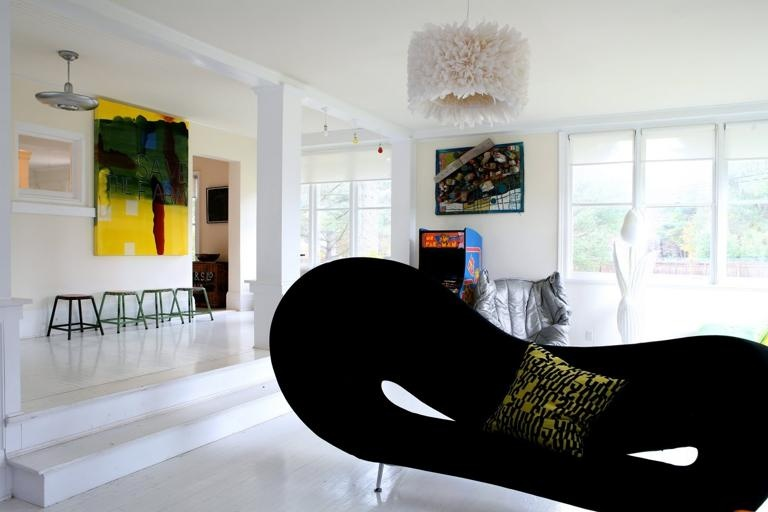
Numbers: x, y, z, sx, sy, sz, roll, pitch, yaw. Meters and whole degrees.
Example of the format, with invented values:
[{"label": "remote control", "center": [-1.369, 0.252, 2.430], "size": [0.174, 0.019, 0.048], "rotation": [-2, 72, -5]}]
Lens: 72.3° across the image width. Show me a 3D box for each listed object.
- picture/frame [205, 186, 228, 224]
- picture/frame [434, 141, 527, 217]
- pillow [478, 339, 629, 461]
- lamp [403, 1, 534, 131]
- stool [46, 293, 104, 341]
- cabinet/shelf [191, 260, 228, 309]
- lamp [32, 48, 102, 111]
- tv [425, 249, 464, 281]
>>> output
[{"label": "picture/frame", "center": [-3.031, -0.929, 9.508], "size": [0.690, 0.664, 0.092], "rotation": [3, 3, 38]}, {"label": "picture/frame", "center": [1.424, -1.093, 7.438], "size": [1.131, 0.818, 0.049], "rotation": [1, 2, 23]}, {"label": "pillow", "center": [1.132, 0.959, 3.433], "size": [0.662, 0.628, 0.203], "rotation": [26, -12, 40]}, {"label": "lamp", "center": [0.532, -1.246, 3.926], "size": [0.855, 0.913, 0.822], "rotation": [1, -15, -5]}, {"label": "stool", "center": [-3.737, 0.706, 6.364], "size": [0.611, 0.496, 0.519], "rotation": [-2, 3, -42]}, {"label": "cabinet/shelf", "center": [-2.936, 0.470, 8.821], "size": [0.821, 0.783, 0.321], "rotation": [-3, -4, 34]}, {"label": "lamp", "center": [-3.181, -1.777, 5.238], "size": [0.550, 0.473, 0.540], "rotation": [0, 22, -29]}, {"label": "tv", "center": [0.821, 0.115, 6.852], "size": [0.413, 0.373, 0.197], "rotation": [0, -2, 25]}]
